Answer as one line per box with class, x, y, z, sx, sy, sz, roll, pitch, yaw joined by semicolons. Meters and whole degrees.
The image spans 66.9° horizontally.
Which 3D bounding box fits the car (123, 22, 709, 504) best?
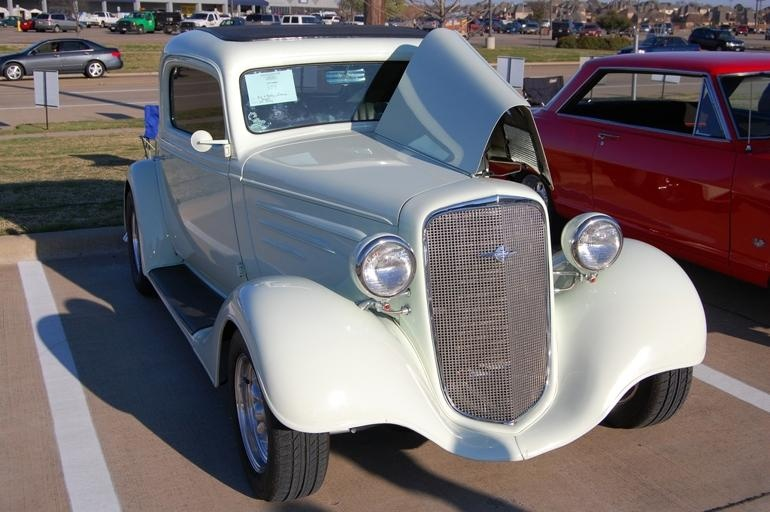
car;-0.427;-0.256;5.149;2.809;2.437;4.851;-6;17;-28
